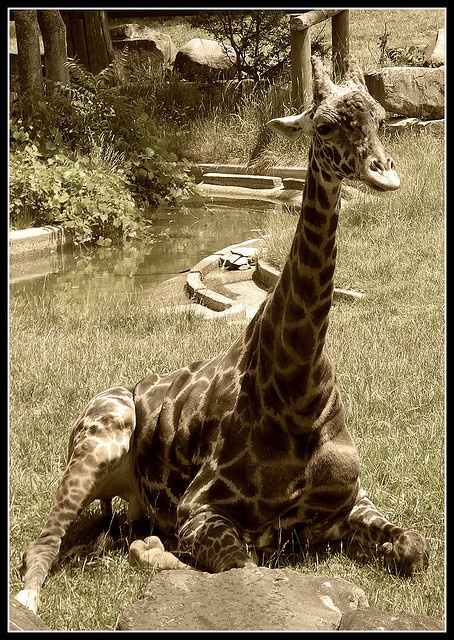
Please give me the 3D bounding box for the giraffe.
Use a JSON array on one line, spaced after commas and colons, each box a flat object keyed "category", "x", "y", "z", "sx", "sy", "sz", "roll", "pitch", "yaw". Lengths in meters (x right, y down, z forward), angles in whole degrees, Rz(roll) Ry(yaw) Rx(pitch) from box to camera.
[{"category": "giraffe", "x": 0.223, "y": 0.140, "z": 3.851, "sx": 1.903, "sy": 2.639, "sz": 1.610, "roll": -6, "pitch": 14, "yaw": -34}]
